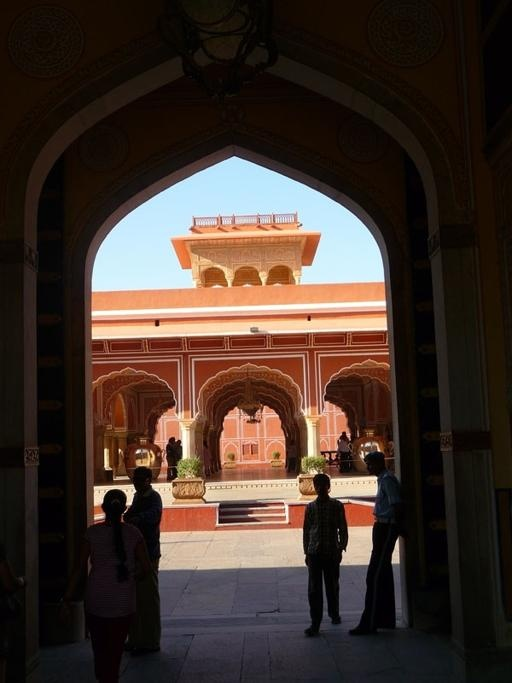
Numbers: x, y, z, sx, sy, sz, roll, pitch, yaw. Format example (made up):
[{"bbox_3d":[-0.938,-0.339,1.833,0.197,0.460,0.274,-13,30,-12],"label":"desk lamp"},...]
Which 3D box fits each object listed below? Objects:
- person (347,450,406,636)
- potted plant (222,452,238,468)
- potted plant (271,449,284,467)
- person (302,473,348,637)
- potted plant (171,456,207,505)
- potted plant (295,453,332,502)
[{"bbox_3d":[0.754,1.258,4.215,0.339,1.103,0.320,-2,-7,11],"label":"person"},{"bbox_3d":[-0.965,4.439,25.098,0.425,0.560,0.433,1,-8,-2],"label":"potted plant"},{"bbox_3d":[0.771,4.248,24.492,0.438,0.550,0.548,-1,-1,0],"label":"potted plant"},{"bbox_3d":[0.450,1.355,4.333,0.271,0.992,0.515,-1,-7,6],"label":"person"},{"bbox_3d":[-1.108,2.314,11.184,0.505,0.680,0.681,0,-8,-2],"label":"potted plant"},{"bbox_3d":[0.990,2.306,11.336,0.412,0.662,0.520,1,-8,-19],"label":"potted plant"}]
